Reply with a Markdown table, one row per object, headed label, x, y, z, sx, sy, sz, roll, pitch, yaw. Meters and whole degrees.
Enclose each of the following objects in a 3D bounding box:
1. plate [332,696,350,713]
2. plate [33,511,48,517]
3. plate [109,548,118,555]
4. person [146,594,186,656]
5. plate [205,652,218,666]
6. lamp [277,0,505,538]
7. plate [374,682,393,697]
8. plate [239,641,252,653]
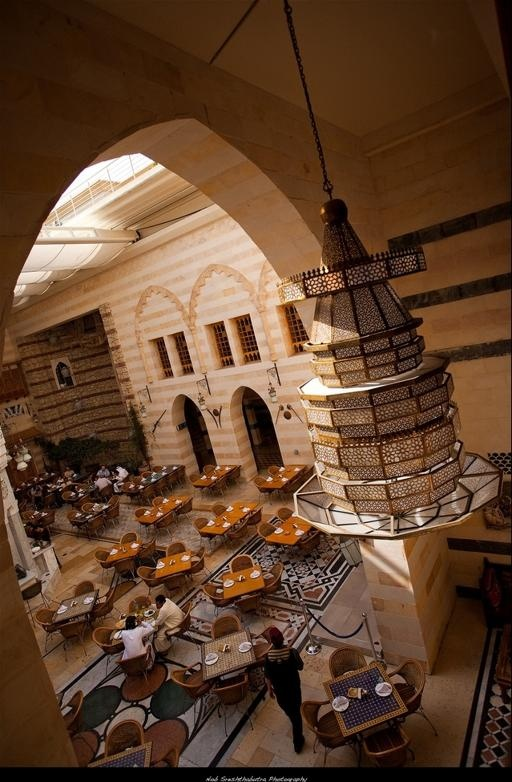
| label | x | y | z | sx | sy | sz | roll | pitch | yaw |
| --- | --- | --- | --- | --- | --- | --- | --- | --- | --- |
| plate | 0.755 | 2.809 | 4.679 | 0.148 | 0.042 | 0.182 | -14 | 7 | 22 |
| plate | -5.727 | 3.275 | 13.874 | 0.210 | 0.051 | 0.201 | -5 | -2 | 2 |
| plate | -2.717 | 3.056 | 9.933 | 0.180 | 0.069 | 0.172 | -1 | 8 | 2 |
| person | -1.215 | 3.192 | 7.127 | 0.531 | 0.701 | 0.364 | -10 | -1 | 4 |
| plate | -0.493 | 2.959 | 5.751 | 0.145 | 0.030 | 0.214 | -16 | 6 | 9 |
| lamp | 0.360 | -0.182 | 1.942 | 0.773 | 1.338 | 0.691 | -18 | 7 | 8 |
| plate | 1.158 | 2.715 | 4.733 | 0.155 | 0.029 | 0.167 | -17 | 6 | -6 |
| plate | -0.125 | 2.876 | 5.864 | 0.148 | 0.026 | 0.213 | -16 | 6 | 9 |
